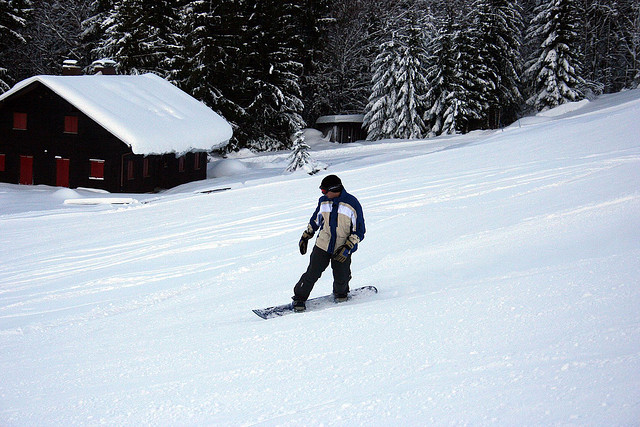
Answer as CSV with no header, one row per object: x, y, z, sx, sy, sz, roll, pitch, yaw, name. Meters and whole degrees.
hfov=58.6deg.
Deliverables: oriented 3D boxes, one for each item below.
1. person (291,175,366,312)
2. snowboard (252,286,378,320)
0.165,0.545,10.673,1.351,2.497,0.550,-4,5,4,person
-0.068,1.697,10.875,2.371,0.289,0.597,-5,5,-17,snowboard
